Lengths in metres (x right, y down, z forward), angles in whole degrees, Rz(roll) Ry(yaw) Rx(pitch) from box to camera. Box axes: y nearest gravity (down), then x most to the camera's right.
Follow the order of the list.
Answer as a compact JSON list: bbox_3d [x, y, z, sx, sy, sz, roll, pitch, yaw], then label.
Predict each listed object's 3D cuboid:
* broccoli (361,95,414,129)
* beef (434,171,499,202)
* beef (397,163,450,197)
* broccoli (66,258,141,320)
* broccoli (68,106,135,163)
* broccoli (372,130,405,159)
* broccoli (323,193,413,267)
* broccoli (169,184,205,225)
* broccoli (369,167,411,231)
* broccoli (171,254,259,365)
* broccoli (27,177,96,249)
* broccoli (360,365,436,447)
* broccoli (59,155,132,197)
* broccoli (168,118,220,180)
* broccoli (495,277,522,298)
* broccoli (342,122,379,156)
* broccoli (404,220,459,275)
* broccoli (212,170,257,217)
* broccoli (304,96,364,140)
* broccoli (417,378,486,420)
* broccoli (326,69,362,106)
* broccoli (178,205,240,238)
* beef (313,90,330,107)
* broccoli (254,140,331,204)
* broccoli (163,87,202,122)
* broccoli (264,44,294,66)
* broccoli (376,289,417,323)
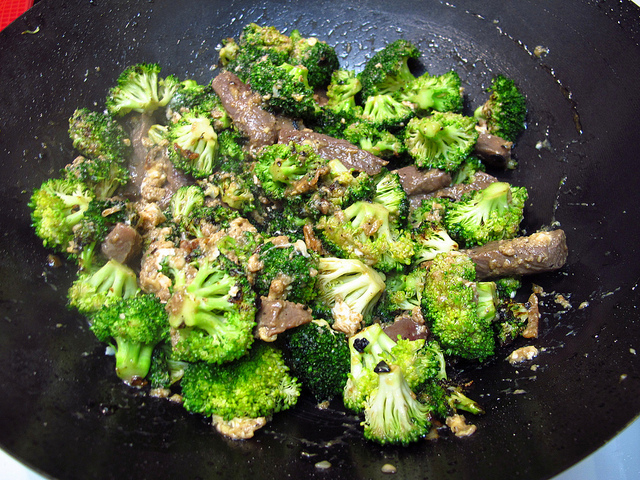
[{"bbox_3d":[0.512,-0.999,4.801,0.271,0.080,0.318,-2,76,1],"label":"broccoli"},{"bbox_3d":[1.079,-0.373,4.658,0.349,0.376,0.113,-3,71,-20],"label":"beef"},{"bbox_3d":[0.787,-0.454,4.598,0.315,0.102,0.265,-9,75,7],"label":"beef"},{"bbox_3d":[-1.514,0.332,4.351,0.453,0.197,0.393,-41,71,-18],"label":"broccoli"},{"bbox_3d":[-1.666,-0.795,4.619,0.438,0.084,0.326,44,49,-15],"label":"broccoli"},{"bbox_3d":[0.519,-0.707,4.660,0.230,0.222,0.096,28,97,-23],"label":"broccoli"},{"bbox_3d":[0.411,-0.106,4.457,0.415,0.383,0.153,-4,65,32],"label":"broccoli"},{"bbox_3d":[-1.003,-0.293,4.580,0.201,0.076,0.307,14,75,7],"label":"broccoli"},{"bbox_3d":[0.516,-0.338,4.521,0.146,0.318,0.427,-21,69,10],"label":"broccoli"},{"bbox_3d":[-0.651,0.468,4.021,0.507,0.230,0.694,0,83,3],"label":"broccoli"},{"bbox_3d":[-1.812,-0.194,4.447,0.405,0.501,0.256,-33,88,4],"label":"broccoli"},{"bbox_3d":[0.488,1.143,3.938,0.480,0.222,0.464,40,82,12],"label":"broccoli"},{"bbox_3d":[-1.640,-0.468,4.677,0.384,0.415,0.306,13,97,5],"label":"broccoli"},{"bbox_3d":[-0.945,-0.684,4.616,0.353,0.126,0.458,-1,102,-22],"label":"broccoli"},{"bbox_3d":[1.369,0.334,4.424,0.139,0.092,0.164,-26,93,6],"label":"broccoli"},{"bbox_3d":[0.305,-0.792,4.650,0.203,0.150,0.260,-9,73,-36],"label":"broccoli"},{"bbox_3d":[0.812,0.013,4.440,0.353,0.127,0.400,-20,65,14],"label":"broccoli"},{"bbox_3d":[-0.603,-0.321,4.585,0.220,0.093,0.389,-12,33,-8],"label":"broccoli"},{"bbox_3d":[0.150,-0.934,4.776,0.338,0.145,0.380,28,75,5],"label":"broccoli"},{"bbox_3d":[0.893,1.073,4.112,0.421,0.114,0.343,19,38,13],"label":"broccoli"},{"bbox_3d":[0.179,-1.204,4.798,0.271,0.086,0.318,-1,92,-8],"label":"broccoli"},{"bbox_3d":[-0.826,-0.164,4.533,0.317,0.241,0.123,-31,101,-4],"label":"broccoli"},{"bbox_3d":[0.010,-1.127,4.811,0.126,0.042,0.151,1,67,-33],"label":"beef"},{"bbox_3d":[-0.237,-0.507,4.234,0.450,0.190,0.447,6,93,17],"label":"broccoli"},{"bbox_3d":[-1.102,-1.080,4.823,0.257,0.068,0.270,36,98,6],"label":"broccoli"},{"bbox_3d":[-0.311,-1.452,4.695,0.148,0.057,0.187,44,49,10],"label":"broccoli"},{"bbox_3d":[0.527,0.485,4.493,0.199,0.249,0.148,-12,88,3],"label":"broccoli"}]
